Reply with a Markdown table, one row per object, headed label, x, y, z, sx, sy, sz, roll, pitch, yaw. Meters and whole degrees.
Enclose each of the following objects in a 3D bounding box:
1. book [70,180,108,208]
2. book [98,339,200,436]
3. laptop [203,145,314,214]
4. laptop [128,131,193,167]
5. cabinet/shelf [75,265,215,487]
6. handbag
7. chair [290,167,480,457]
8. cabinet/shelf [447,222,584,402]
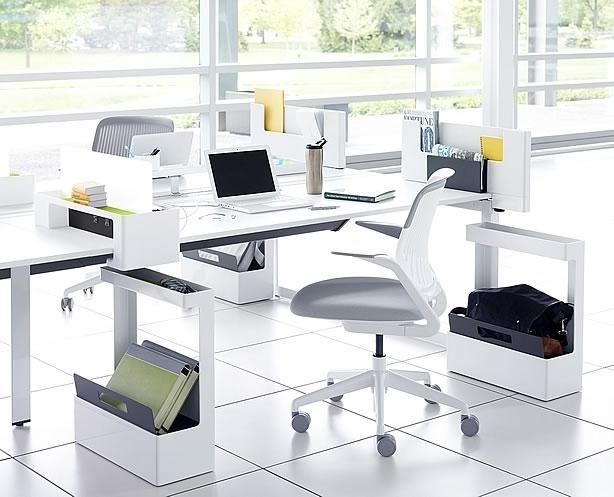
| label | x | y | z | sx | sy | sz | roll | pitch | yaw |
| --- | --- | --- | --- | --- | --- | --- | --- | --- | --- |
| book | -0.818 | -0.229 | 2.371 | 0.101 | 0.070 | 0.140 | -10 | 16 | -41 |
| book | -0.559 | 0.494 | 2.296 | 0.336 | 0.301 | 0.078 | 26 | -7 | 23 |
| laptop | -0.204 | -0.325 | 2.856 | 0.413 | 0.241 | 0.379 | -10 | 17 | -41 |
| laptop | -0.726 | -0.523 | 3.222 | 0.279 | 0.152 | 0.216 | -8 | 14 | -40 |
| cabinet/shelf | -0.647 | 0.518 | 2.502 | 0.373 | 0.795 | 0.699 | -4 | 9 | -38 |
| handbag | 0.992 | 0.316 | 2.969 | 0.273 | 0.133 | 0.426 | -19 | 27 | -36 |
| chair | 0.321 | 0.234 | 2.658 | 0.759 | 0.967 | 0.814 | 2 | 5 | 30 |
| cabinet/shelf | 1.041 | 0.332 | 3.165 | 0.371 | 0.958 | 0.848 | -6 | 9 | -42 |
